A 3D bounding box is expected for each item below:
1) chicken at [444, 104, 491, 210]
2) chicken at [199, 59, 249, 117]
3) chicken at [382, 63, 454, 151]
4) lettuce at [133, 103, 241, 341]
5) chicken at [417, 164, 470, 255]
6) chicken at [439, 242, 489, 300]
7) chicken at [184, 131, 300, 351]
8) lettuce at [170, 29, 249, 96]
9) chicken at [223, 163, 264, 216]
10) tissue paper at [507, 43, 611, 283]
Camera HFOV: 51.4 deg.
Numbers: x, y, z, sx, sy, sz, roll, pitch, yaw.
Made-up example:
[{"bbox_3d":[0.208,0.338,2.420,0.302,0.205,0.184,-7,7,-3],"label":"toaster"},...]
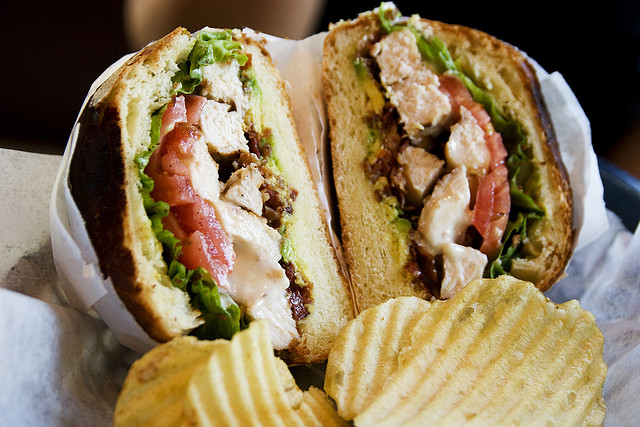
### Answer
[{"bbox_3d":[0.722,-0.316,3.448,0.281,0.491,0.201,-1,10,-11],"label":"chicken"},{"bbox_3d":[-0.456,-0.612,3.271,0.087,0.249,0.251,-3,38,29],"label":"chicken"},{"bbox_3d":[0.502,-0.543,3.342,0.301,0.424,0.136,-29,-8,23],"label":"chicken"},{"bbox_3d":[-0.657,-0.137,2.986,0.156,0.745,0.184,-10,6,41],"label":"lettuce"},{"bbox_3d":[0.634,-0.013,3.326,0.387,0.385,0.221,-4,6,-31],"label":"chicken"},{"bbox_3d":[0.707,0.270,3.303,0.255,0.272,0.087,26,5,-6],"label":"chicken"},{"bbox_3d":[-0.331,0.021,3.365,0.900,0.865,0.664,-9,19,-6],"label":"chicken"},{"bbox_3d":[-0.567,-0.795,3.302,0.389,0.333,0.368,-10,25,-20],"label":"lettuce"},{"bbox_3d":[-0.344,-0.146,3.236,0.188,0.192,0.381,-12,21,-23],"label":"chicken"},{"bbox_3d":[1.269,-0.328,3.533,0.373,1.353,0.391,-3,-1,-27],"label":"tissue paper"}]
